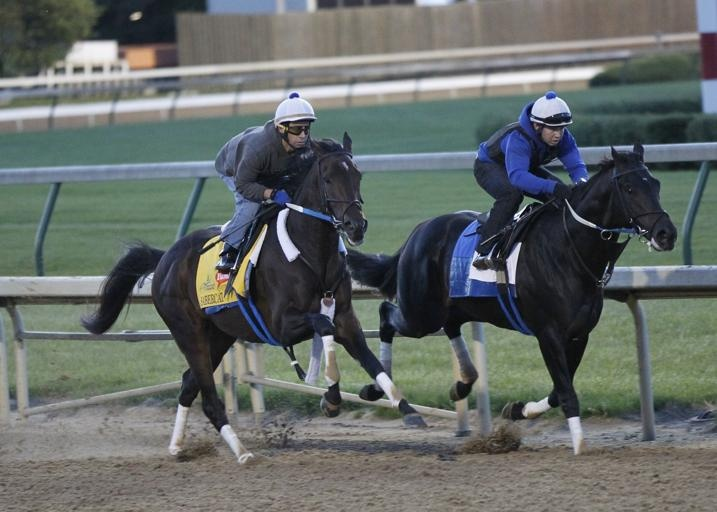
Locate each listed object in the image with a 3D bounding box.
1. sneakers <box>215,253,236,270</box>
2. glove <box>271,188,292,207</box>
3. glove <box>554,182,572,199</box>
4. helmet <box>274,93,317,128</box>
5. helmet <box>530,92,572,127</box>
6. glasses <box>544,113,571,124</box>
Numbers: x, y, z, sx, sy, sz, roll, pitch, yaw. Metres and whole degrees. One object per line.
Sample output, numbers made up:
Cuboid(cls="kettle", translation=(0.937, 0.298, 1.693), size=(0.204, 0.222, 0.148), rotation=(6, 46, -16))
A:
Cuboid(cls="sneakers", translation=(-1.285, 0.074, 14.796), size=(0.142, 0.181, 0.075), rotation=(1, -23, 32))
Cuboid(cls="glove", translation=(-0.739, -0.557, 14.714), size=(0.188, 0.137, 0.140), rotation=(-1, 10, 23))
Cuboid(cls="glove", translation=(1.951, -0.612, 14.636), size=(0.153, 0.129, 0.039), rotation=(4, -11, 17))
Cuboid(cls="helmet", translation=(-0.646, -1.408, 14.698), size=(0.323, 0.237, 0.404), rotation=(8, 10, 39))
Cuboid(cls="helmet", translation=(1.878, -1.428, 14.779), size=(0.390, 0.291, 0.477), rotation=(-8, 21, -22))
Cuboid(cls="glasses", translation=(1.938, -1.306, 14.672), size=(0.293, 0.127, 0.112), rotation=(-8, 9, -21))
